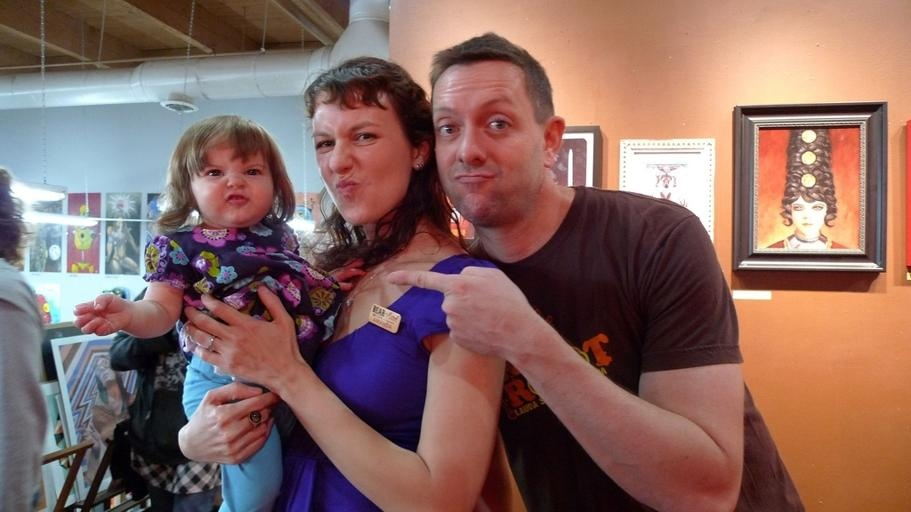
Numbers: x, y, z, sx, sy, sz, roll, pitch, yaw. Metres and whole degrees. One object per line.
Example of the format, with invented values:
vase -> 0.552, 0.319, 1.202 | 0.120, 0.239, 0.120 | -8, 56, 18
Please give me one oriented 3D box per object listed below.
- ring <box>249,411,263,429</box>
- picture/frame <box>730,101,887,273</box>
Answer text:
ring -> -1.181, 0.970, 3.802 | 0.105, 0.093, 0.026 | 4, -14, -23
picture/frame -> 2.812, -0.550, 5.046 | 1.466, 1.620, 0.127 | 0, -2, 8
